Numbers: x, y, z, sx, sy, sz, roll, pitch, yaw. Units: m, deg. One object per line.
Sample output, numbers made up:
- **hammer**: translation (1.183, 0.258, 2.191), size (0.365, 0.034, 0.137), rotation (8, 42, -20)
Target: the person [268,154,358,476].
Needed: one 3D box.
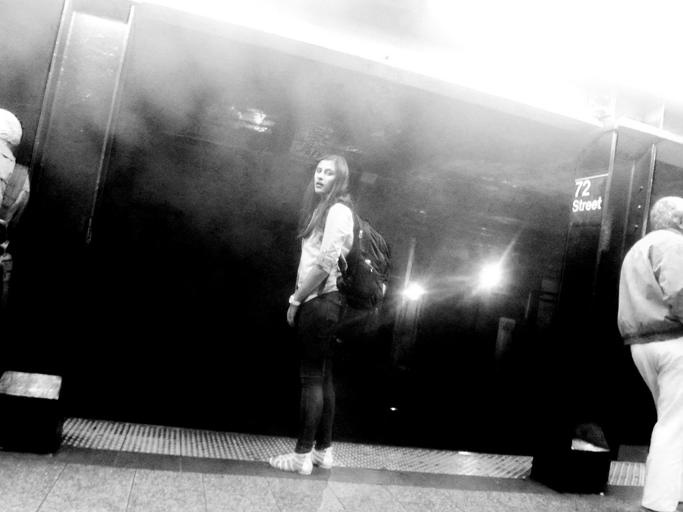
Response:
- **person**: translation (-0.244, 0.373, 3.938), size (0.479, 2.174, 0.774), rotation (8, -2, -36)

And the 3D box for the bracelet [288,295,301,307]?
- **bracelet**: translation (-0.335, 0.302, 3.732), size (0.103, 0.051, 0.077), rotation (10, -15, 39)
